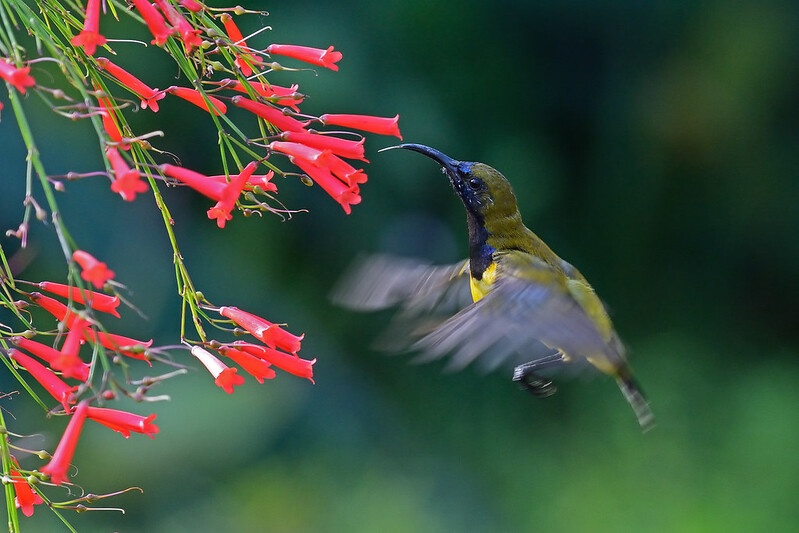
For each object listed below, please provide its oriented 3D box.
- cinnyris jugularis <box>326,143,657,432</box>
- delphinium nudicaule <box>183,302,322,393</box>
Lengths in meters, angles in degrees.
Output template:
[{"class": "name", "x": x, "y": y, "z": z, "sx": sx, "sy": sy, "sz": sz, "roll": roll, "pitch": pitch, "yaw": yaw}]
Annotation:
[{"class": "cinnyris jugularis", "x": 0.350, "y": 0.075, "z": 3.495, "sx": 1.273, "sy": 0.953, "sz": 0.951, "roll": 6, "pitch": -5, "yaw": 15}, {"class": "delphinium nudicaule", "x": -0.462, "y": 0.278, "z": 2.868, "sx": 0.265, "sy": 0.213, "sz": 0.404, "roll": -23, "pitch": -50, "yaw": 40}]
